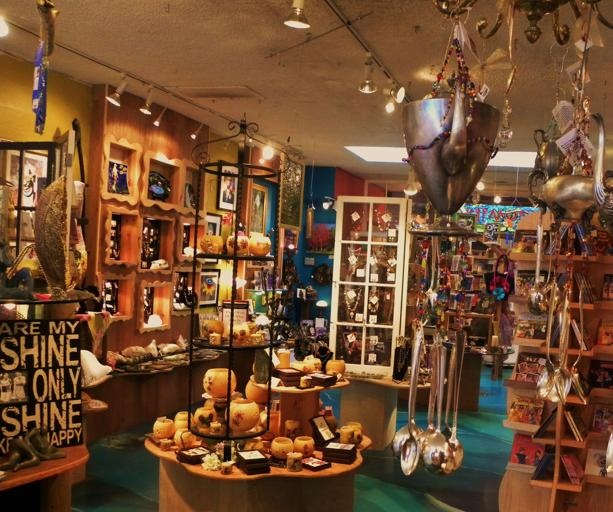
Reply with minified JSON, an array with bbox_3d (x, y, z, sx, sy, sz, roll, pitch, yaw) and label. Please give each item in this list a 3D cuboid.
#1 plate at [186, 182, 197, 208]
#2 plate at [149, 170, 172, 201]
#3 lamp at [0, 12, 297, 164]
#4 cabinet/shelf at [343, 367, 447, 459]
[{"bbox_3d":[-1.576,-0.804,7.088,0.139,0.390,0.124,1,-4,24],"label":"plate"},{"bbox_3d":[-1.779,-0.871,6.422,0.140,0.326,0.229,-11,-21,35],"label":"plate"},{"bbox_3d":[-1.534,-1.592,4.945,2.651,0.202,0.302,27,-49,-17],"label":"lamp"},{"bbox_3d":[0.932,1.406,5.789,1.121,0.836,0.877,1,-4,33],"label":"cabinet/shelf"}]
